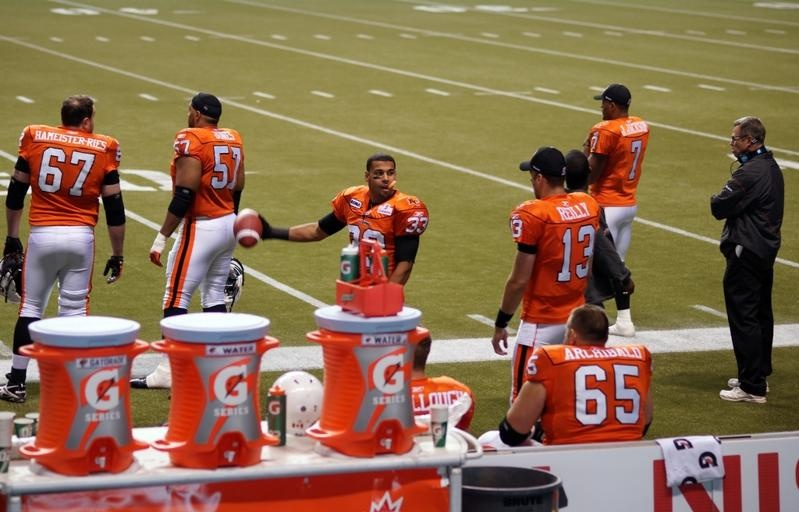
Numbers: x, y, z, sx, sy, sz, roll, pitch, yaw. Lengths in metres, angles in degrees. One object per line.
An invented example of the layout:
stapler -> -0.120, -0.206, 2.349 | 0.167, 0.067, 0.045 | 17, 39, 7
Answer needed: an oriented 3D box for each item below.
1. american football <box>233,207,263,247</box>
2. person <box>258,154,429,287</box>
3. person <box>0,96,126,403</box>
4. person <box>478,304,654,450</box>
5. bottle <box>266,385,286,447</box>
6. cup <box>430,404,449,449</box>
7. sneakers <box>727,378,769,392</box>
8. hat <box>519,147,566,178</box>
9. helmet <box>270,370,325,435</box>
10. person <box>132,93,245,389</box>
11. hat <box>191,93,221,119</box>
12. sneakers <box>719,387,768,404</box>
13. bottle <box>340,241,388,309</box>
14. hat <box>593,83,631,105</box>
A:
american football -> -1.139, -0.208, 10.509 | 0.258, 0.282, 0.189 | -10, -35, 10
person -> -0.291, -0.327, 11.618 | 0.974, 1.092, 0.429 | 5, 5, 28
person -> -3.051, -0.287, 12.310 | 1.070, 2.342, 0.519 | 2, 5, -11
person -> 1.400, 0.927, 11.044 | 1.190, 1.303, 1.294 | -4, 15, -16
bottle -> -0.908, 1.210, 10.183 | 0.150, 0.428, 0.299 | 3, 5, -4
cup -> 0.316, 1.288, 10.192 | 0.134, 0.296, 0.174 | 3, 5, 2
sneakers -> 3.460, 1.240, 13.062 | 0.456, 0.135, 0.137 | 5, 8, -3
hat -> 1.250, -0.803, 11.548 | 0.409, 0.183, 0.276 | 18, 26, 30
helmet -> -0.722, 1.126, 10.378 | 0.490, 0.381, 0.474 | 3, 26, -2
person -> -1.804, -0.465, 12.521 | 0.898, 2.089, 0.601 | 1, 6, -29
hat -> -1.829, -1.386, 12.563 | 0.305, 0.115, 0.241 | 36, 32, 29
sneakers -> 3.272, 1.330, 12.836 | 0.479, 0.141, 0.156 | 5, 4, 0
bottle -> -0.259, 0.165, 10.095 | 0.362, 0.543, 0.180 | 6, 5, 30
hat -> 2.248, -1.700, 14.233 | 0.414, 0.180, 0.253 | 18, 24, 13
